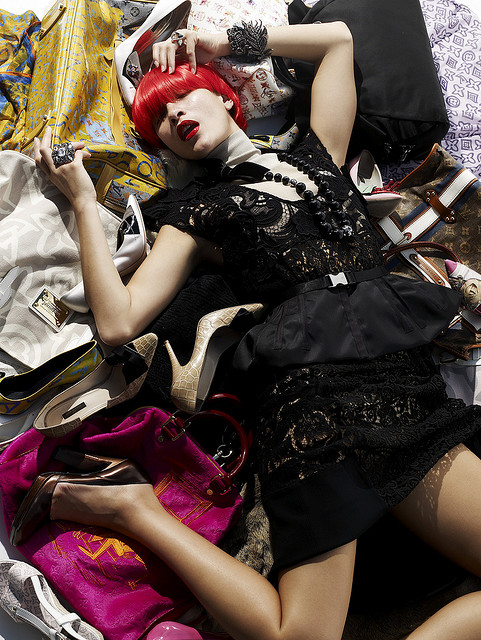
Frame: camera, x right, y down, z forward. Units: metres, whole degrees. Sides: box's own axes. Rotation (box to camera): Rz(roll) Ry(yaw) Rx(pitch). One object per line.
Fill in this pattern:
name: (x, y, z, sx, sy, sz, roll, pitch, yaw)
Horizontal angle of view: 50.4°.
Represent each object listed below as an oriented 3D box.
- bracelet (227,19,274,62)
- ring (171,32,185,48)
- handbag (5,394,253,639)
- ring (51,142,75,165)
bracelet: (0.003, -0.822, 1.494, 0.163, 0.088, 0.151, -9, 37, -11)
ring: (-0.170, -0.781, 1.406, 0.034, 0.017, 0.044, 12, 103, 19)
handbag: (-0.263, 0.432, 1.331, 0.461, 0.190, 0.578, -44, 83, -3)
ring: (-0.428, -0.409, 1.242, 0.050, 0.023, 0.057, -12, 66, 1)
